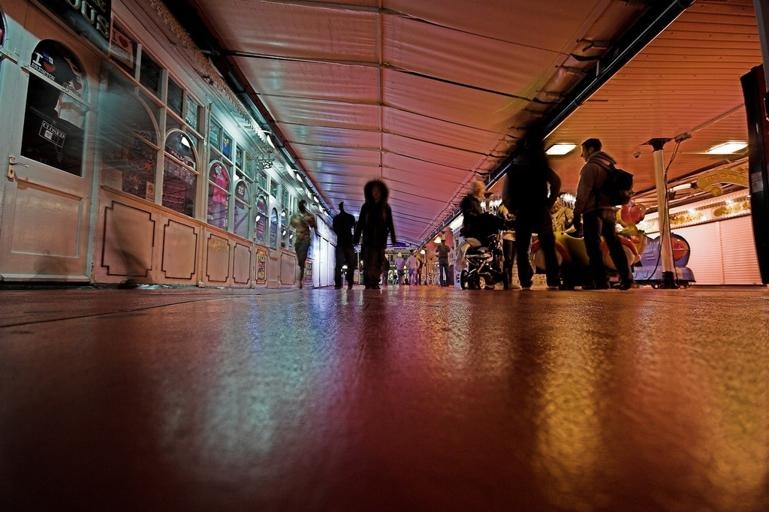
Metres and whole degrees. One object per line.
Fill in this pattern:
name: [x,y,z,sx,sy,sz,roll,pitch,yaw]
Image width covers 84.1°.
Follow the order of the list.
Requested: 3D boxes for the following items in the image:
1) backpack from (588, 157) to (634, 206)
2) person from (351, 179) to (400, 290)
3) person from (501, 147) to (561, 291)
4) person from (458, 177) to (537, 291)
backpack: [2.353,-0.704,4.302,0.420,0.433,0.310,5,3,42]
person: [-0.122,-0.331,5.767,0.560,1.513,0.870,1,-2,-5]
person: [1.550,-0.427,4.562,0.591,1.510,0.448,-1,-3,32]
person: [1.315,-0.179,5.517,0.790,0.947,1.427,1,-7,-5]
